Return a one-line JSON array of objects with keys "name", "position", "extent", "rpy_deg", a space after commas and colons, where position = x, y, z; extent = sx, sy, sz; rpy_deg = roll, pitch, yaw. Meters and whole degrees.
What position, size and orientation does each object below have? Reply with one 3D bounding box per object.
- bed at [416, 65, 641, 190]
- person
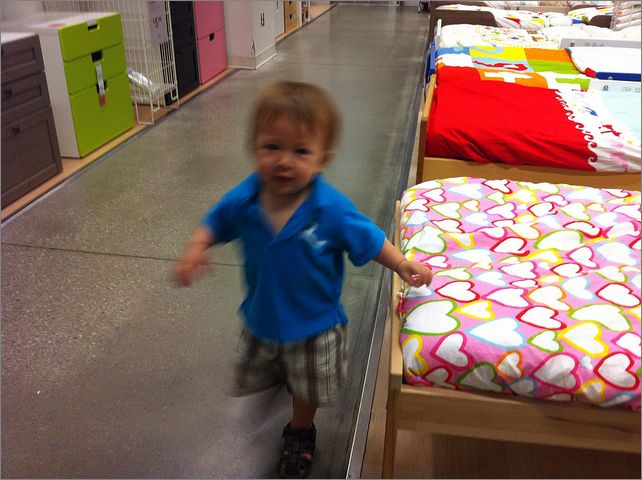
[{"name": "bed", "position": [1.117, -0.542, 2.379], "extent": [0.715, 0.446, 0.696], "rpy_deg": [3, 39, 8]}, {"name": "person", "position": [-0.071, 0.158, 1.230], "extent": [0.603, 1.100, 0.370], "rpy_deg": [-16, 34, -22]}]
